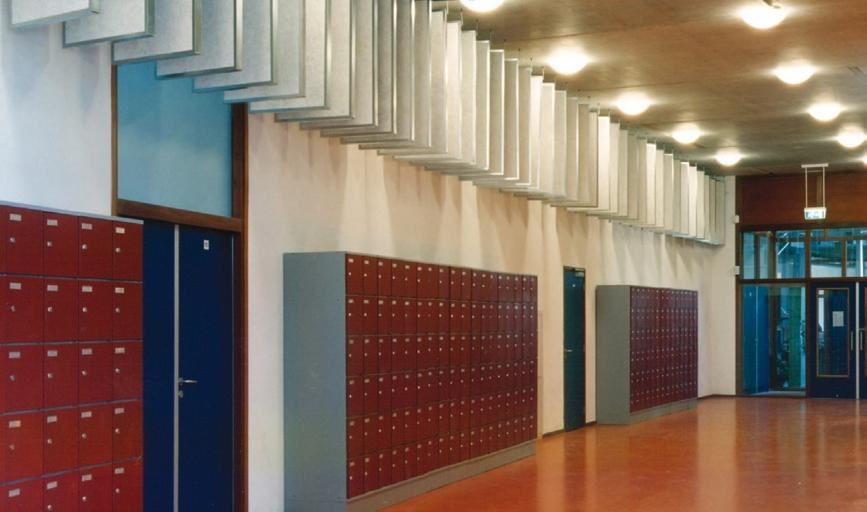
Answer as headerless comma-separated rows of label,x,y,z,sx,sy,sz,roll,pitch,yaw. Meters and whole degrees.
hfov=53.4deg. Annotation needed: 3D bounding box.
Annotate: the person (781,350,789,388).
person,9.234,2.994,22.603,0.144,0.890,0.177,-2,-5,16
